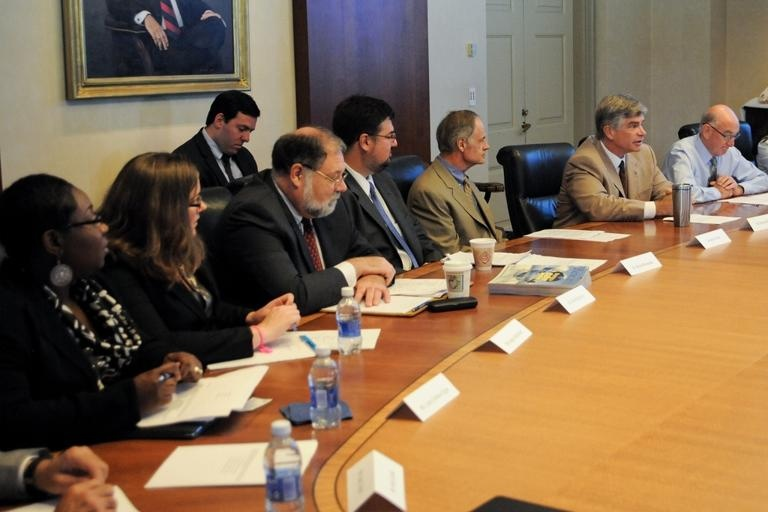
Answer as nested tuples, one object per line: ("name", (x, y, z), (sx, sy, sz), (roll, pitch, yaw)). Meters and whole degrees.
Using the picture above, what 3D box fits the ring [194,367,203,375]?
("ring", (-0.572, 0.353, 1.876), (0.006, 0.024, 0.023), (-16, 5, 24))

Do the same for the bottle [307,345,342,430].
("bottle", (-0.170, 0.351, 1.661), (0.095, 0.204, 0.117), (-11, 14, -9))

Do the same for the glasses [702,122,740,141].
("glasses", (2.683, -0.992, 4.841), (0.166, 0.053, 0.169), (33, 18, 36))

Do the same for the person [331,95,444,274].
("person", (0.038, -0.537, 3.996), (0.900, 1.306, 0.834), (-1, 13, 5))

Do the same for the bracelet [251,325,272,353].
("bracelet", (-0.434, 0.295, 2.138), (0.023, 0.092, 0.064), (-21, -2, 6))

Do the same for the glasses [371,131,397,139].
("glasses", (-0.010, -0.693, 3.506), (0.103, 0.033, 0.104), (4, 9, 24))

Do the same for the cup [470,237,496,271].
("cup", (0.482, -0.013, 2.951), (0.134, 0.143, 0.138), (-2, 2, 0))

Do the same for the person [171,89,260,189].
("person", (-1.129, -0.789, 3.988), (0.381, 0.751, 0.757), (11, 17, 19))

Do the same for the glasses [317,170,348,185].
("glasses", (-0.243, -0.363, 2.774), (0.078, 0.025, 0.080), (24, 16, 19))

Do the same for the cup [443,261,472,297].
("cup", (0.306, 0.097, 2.549), (0.137, 0.155, 0.145), (-3, 6, 0))

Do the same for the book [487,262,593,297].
("book", (0.682, 0.102, 2.621), (0.222, 0.056, 0.230), (4, 14, 25))
